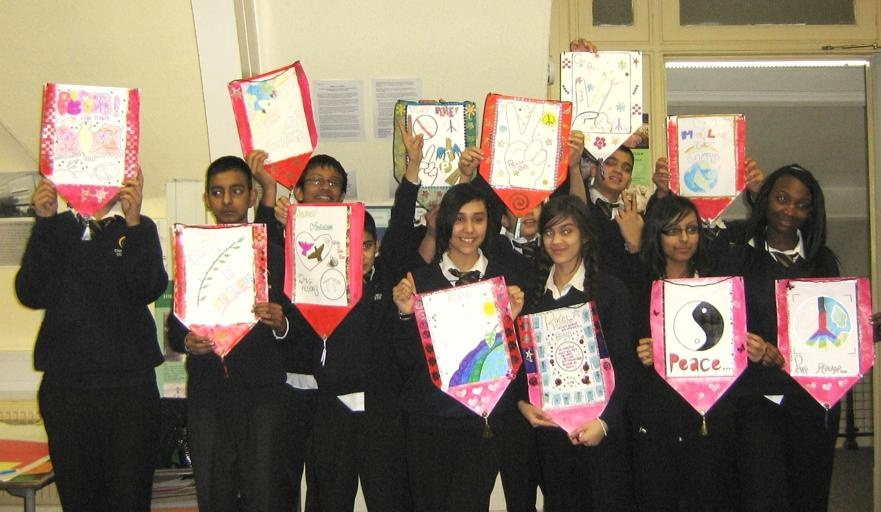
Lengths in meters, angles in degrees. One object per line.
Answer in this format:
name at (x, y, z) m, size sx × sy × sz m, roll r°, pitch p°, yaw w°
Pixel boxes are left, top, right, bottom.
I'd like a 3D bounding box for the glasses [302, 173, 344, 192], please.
glasses at (-0.715, -0.439, 5.122) m, size 0.252 × 0.107 × 0.088 m, roll -4°, pitch 8°, yaw -12°
